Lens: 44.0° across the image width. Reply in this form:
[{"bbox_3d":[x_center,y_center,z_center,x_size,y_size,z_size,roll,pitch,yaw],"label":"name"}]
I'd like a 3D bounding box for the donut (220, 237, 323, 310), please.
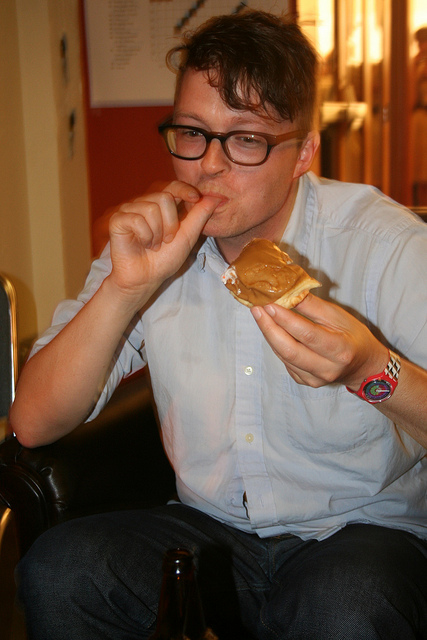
[{"bbox_3d":[0.094,-0.074,0.881,0.111,0.099,0.186,-9,17,-30],"label":"donut"}]
